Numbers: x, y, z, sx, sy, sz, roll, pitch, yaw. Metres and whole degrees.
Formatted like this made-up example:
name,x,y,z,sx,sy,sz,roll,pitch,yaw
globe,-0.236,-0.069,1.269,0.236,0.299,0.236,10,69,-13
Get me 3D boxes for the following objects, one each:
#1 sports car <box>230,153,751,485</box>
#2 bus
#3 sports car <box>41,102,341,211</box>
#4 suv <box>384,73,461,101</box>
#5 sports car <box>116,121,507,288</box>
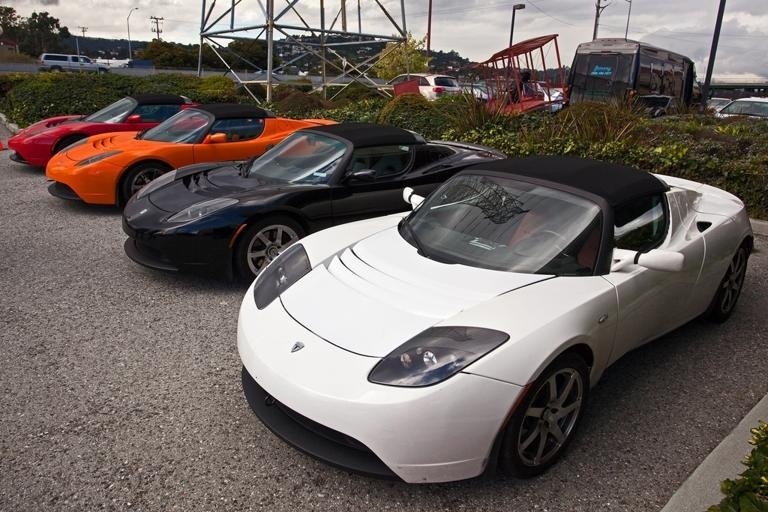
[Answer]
name,x,y,z,sx,sy,sz,roll,pitch,yaw
sports car,1.136,0.231,3.607,3.967,1.132,2.192,-18,29,-30
bus,10.548,-7.245,19.585,5.706,2.446,3.834,-9,28,-33
sports car,-3.431,-1.827,8.512,4.559,1.148,2.309,-9,23,-28
suv,2.030,-8.208,22.340,3.409,1.116,5.271,0,20,-7
sports car,-0.795,-0.805,6.073,4.501,1.162,2.096,-8,19,-26
